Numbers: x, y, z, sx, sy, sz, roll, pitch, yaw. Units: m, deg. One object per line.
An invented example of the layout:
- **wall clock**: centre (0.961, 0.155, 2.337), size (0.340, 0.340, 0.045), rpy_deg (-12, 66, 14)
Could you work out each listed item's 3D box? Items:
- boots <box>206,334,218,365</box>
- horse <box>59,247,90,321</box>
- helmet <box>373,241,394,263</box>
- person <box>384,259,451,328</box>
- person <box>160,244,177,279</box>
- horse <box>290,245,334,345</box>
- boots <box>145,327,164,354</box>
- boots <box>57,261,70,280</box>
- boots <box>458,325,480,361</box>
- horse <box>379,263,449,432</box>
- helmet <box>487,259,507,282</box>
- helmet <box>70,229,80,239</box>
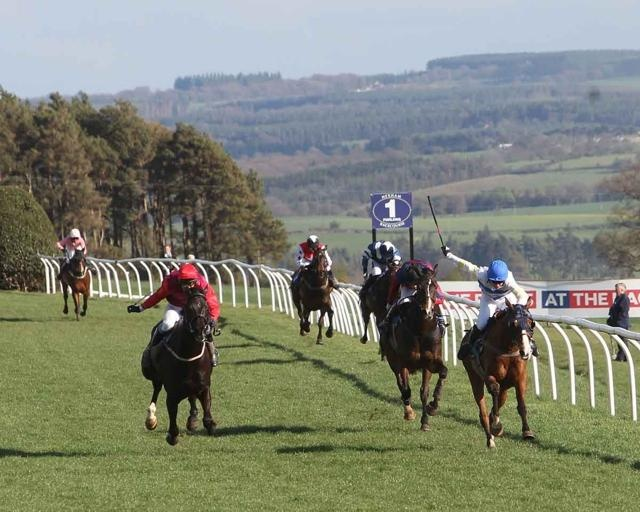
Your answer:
- **boots**: centre (-2.475, 2.109, 31.960), size (0.183, 0.783, 0.233), rpy_deg (-3, 38, 14)
- **horse**: centre (-6.843, 0.820, 39.489), size (0.848, 1.984, 1.187), rpy_deg (-2, 5, -14)
- **helmet**: centre (1.675, -0.085, 36.474), size (0.335, 0.635, 0.242), rpy_deg (2, 5, 17)
- **person**: centre (2.366, 0.756, 33.824), size (0.809, 1.597, 2.419), rpy_deg (-1, 3, 0)
- **person**: centre (-4.977, 0.223, 46.370), size (0.265, 1.447, 0.740), rpy_deg (-8, -11, 11)
- **horse**: centre (-0.133, 1.032, 37.207), size (0.709, 2.675, 1.237), rpy_deg (-4, 5, -36)
- **boots**: centre (-3.735, 1.891, 32.074), size (0.237, 0.839, 0.381), rpy_deg (16, -4, 7)
- **boots**: centre (-7.216, 0.462, 39.800), size (0.106, 0.523, 0.264), rpy_deg (16, 1, -21)
- **boots**: centre (3.520, 2.091, 32.972), size (0.232, 1.023, 0.393), rpy_deg (34, 18, 25)
- **horse**: centre (2.281, 2.134, 33.146), size (0.907, 3.889, 1.471), rpy_deg (-4, 5, -36)
- **helmet**: centre (4.112, 0.355, 32.510), size (0.327, 0.352, 0.534), rpy_deg (5, 38, 3)
- **helmet**: centre (-6.872, -0.597, 39.690), size (0.387, 0.364, 0.575), rpy_deg (4, 0, -11)
